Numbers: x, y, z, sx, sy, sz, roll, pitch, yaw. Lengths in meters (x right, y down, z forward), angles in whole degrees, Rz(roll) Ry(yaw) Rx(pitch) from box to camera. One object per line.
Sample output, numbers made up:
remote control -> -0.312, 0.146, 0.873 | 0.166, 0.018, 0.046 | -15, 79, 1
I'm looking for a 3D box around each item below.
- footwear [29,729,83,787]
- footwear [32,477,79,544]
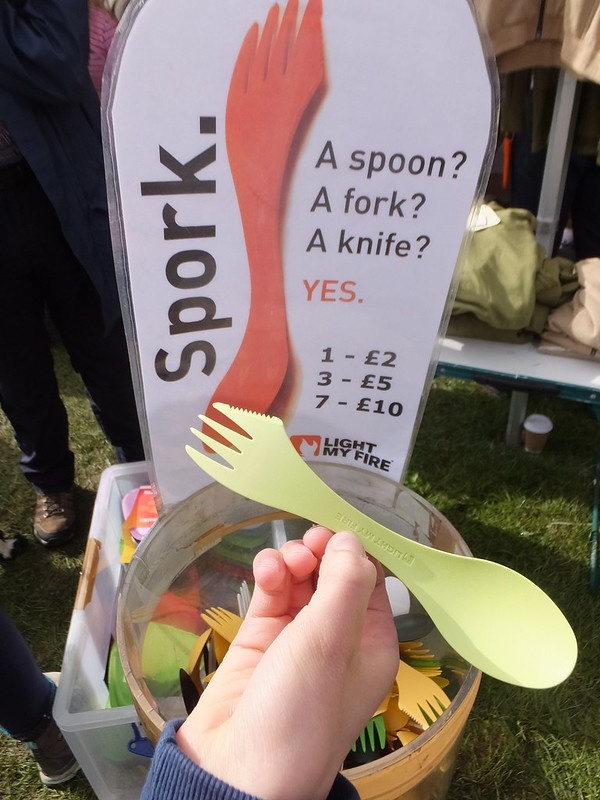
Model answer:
footwear -> -0.442, 0.632, 1.094 | 0.078, 0.170, 0.053 | -18, 49, -15
footwear -> -0.668, 0.296, 1.711 | 0.071, 0.086, 0.207 | -3, 29, -20
